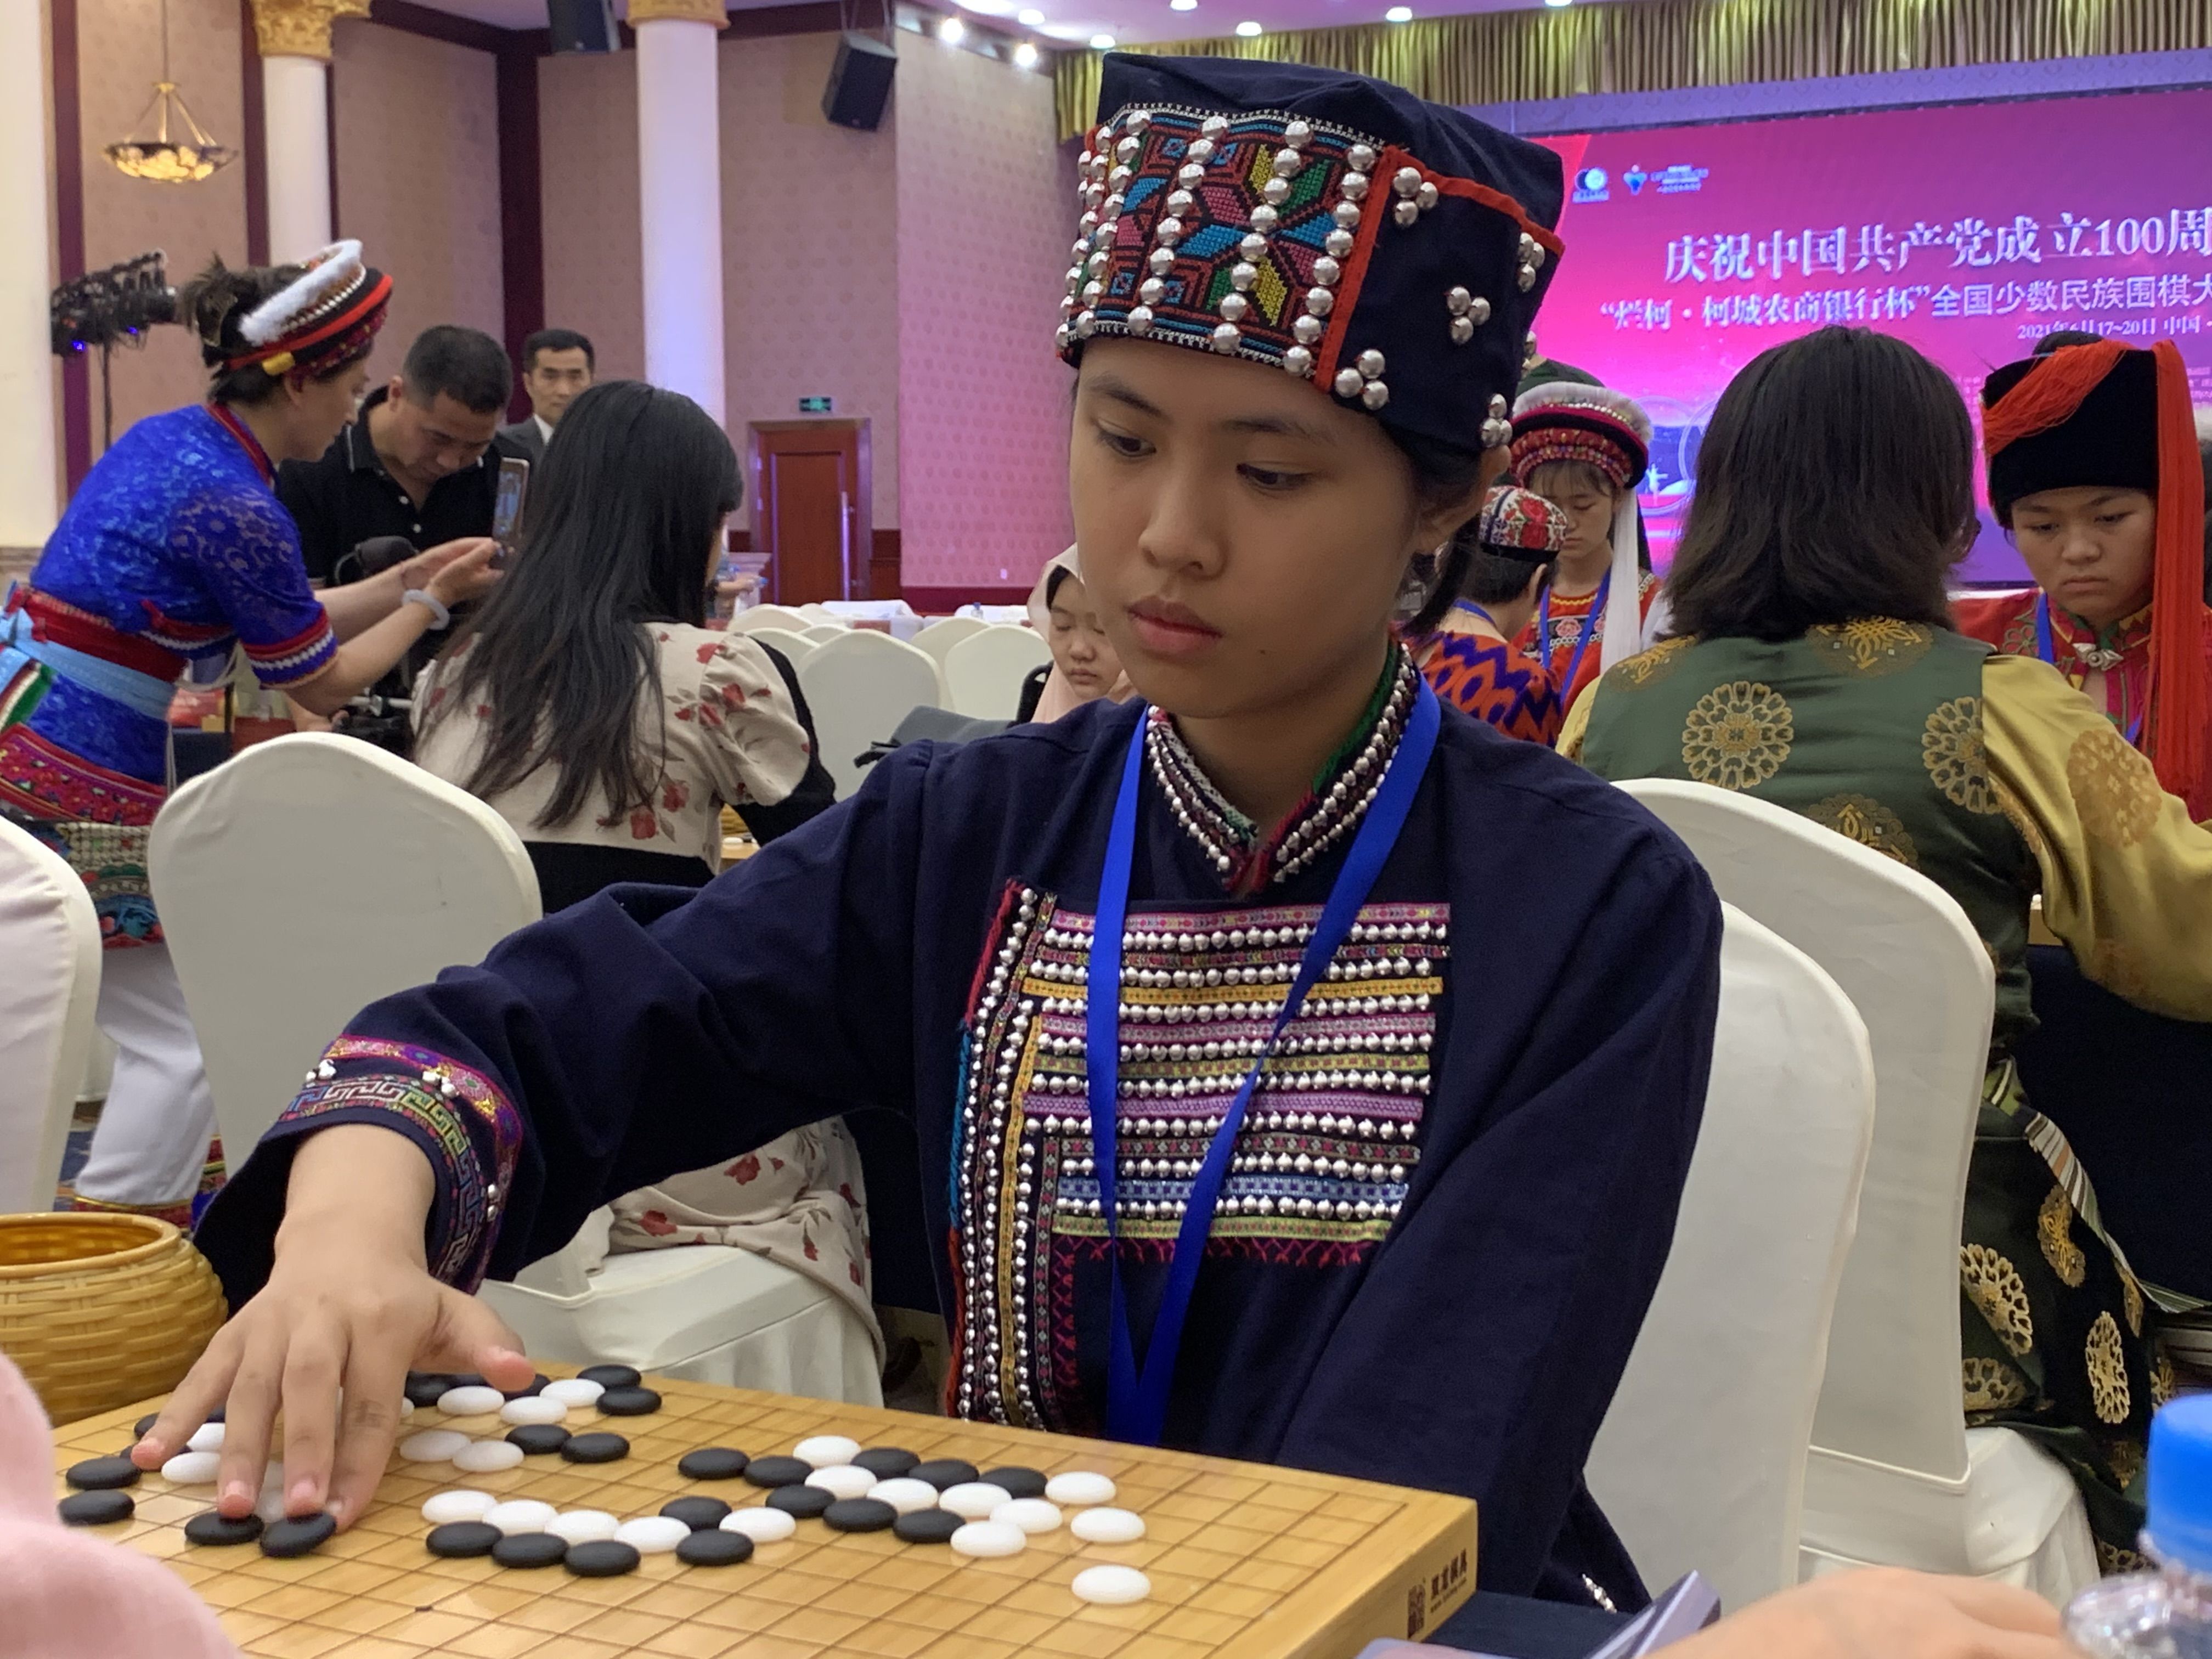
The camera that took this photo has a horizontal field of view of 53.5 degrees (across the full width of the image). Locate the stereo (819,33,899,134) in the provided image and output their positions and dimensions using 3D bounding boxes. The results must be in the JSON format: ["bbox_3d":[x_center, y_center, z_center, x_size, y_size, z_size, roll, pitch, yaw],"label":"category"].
[{"bbox_3d":[-1.291,-3.951,11.618,0.278,0.445,0.509,4,43,-30],"label":"stereo"}]

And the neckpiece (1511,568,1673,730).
[{"bbox_3d":[0.984,-0.305,4.513,0.295,0.440,0.237,-8,-30,31],"label":"neckpiece"}]

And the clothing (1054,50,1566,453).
[{"bbox_3d":[0.100,-0.344,1.381,0.233,0.190,0.285,17,3,-39],"label":"clothing"}]

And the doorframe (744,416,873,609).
[{"bbox_3d":[-1.718,-1.751,12.671,0.542,1.114,0.063,-2,-15,-8],"label":"doorframe"}]

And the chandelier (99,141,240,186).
[{"bbox_3d":[-4.513,-3.229,10.689,0.391,0.125,0.431,0,0,4],"label":"chandelier"}]

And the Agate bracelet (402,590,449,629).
[{"bbox_3d":[-1.269,-0.409,4.089,0.083,0.027,0.086,35,-24,4],"label":"Agate bracelet"}]
